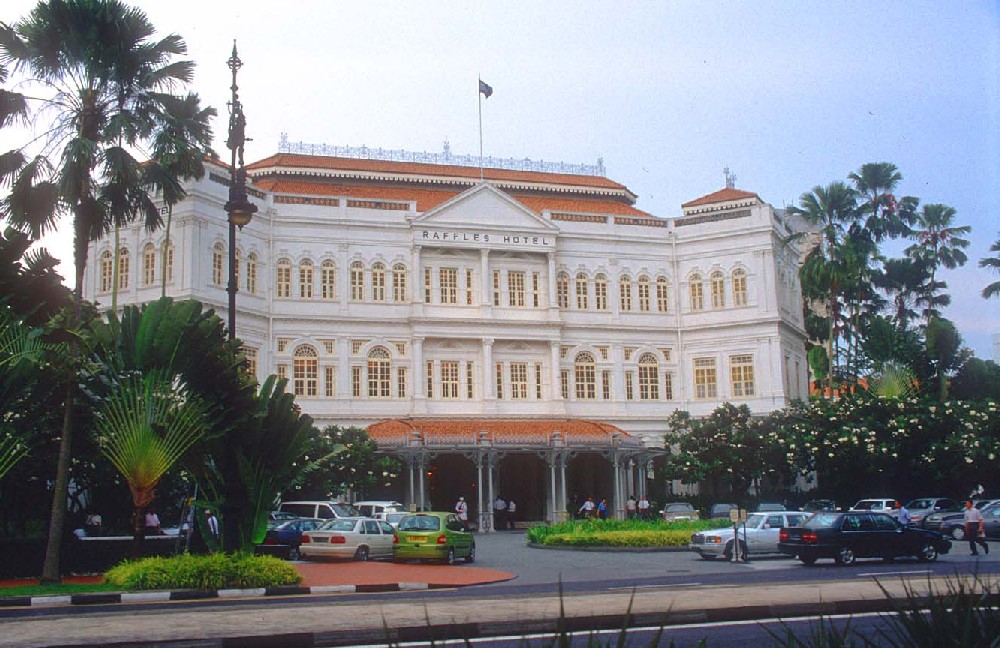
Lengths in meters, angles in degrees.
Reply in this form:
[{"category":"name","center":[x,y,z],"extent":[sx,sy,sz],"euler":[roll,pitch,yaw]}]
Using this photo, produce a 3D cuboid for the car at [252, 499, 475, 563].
[{"category":"car","center":[-4.832,7.911,40.492],"extent":[7.304,1.772,2.702],"euler":[-5,-14,20]}]
